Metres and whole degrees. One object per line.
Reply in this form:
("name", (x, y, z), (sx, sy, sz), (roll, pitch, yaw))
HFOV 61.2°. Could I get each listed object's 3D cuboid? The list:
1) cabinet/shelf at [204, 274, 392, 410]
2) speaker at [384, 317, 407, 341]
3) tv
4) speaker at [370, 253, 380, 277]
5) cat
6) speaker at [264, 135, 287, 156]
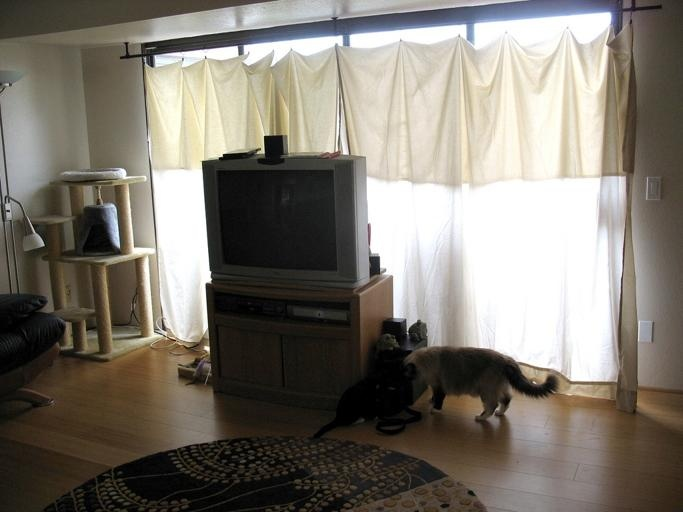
("cabinet/shelf", (-0.295, 0.574, 4.021), (1.135, 0.738, 0.755), (4, 9, 24))
("speaker", (0.359, 0.484, 3.862), (0.140, 0.138, 0.143), (0, 2, 16))
("tv", (-0.326, -0.256, 3.970), (1.089, 0.828, 0.638), (3, 13, 23))
("speaker", (0.224, 0.060, 3.903), (0.052, 0.139, 0.107), (5, 11, 34))
("cat", (0.269, 0.865, 3.573), (0.794, 0.312, 0.435), (-20, -11, -11))
("speaker", (-0.428, -0.701, 3.709), (0.140, 0.143, 0.141), (4, 8, 12))
